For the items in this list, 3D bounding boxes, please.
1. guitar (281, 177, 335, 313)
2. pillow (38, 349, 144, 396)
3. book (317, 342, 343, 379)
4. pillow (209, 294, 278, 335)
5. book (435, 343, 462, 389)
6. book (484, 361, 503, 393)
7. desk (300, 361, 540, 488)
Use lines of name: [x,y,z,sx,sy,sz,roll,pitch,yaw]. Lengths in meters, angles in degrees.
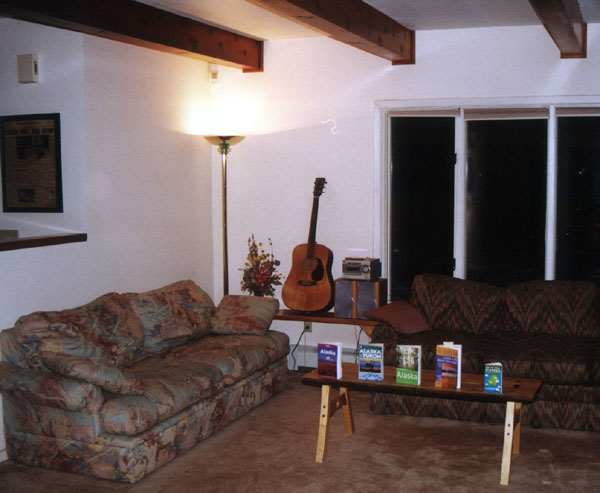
guitar: [0.064,-0.001,5.160,0.492,1.276,0.297,-1,4,0]
pillow: [-1.206,0.727,3.190,0.453,0.118,0.274,24,-4,-8]
book: [0.184,0.732,3.467,0.193,0.299,0.091,-1,-2,22]
pillow: [-0.493,0.591,4.676,0.334,0.126,0.363,0,23,10]
book: [0.892,0.723,3.314,0.148,0.252,0.157,0,4,12]
book: [1.130,0.780,3.271,0.145,0.216,0.135,0,-3,22]
desk: [0.747,1.063,3.443,1.406,0.515,0.739,1,5,24]
